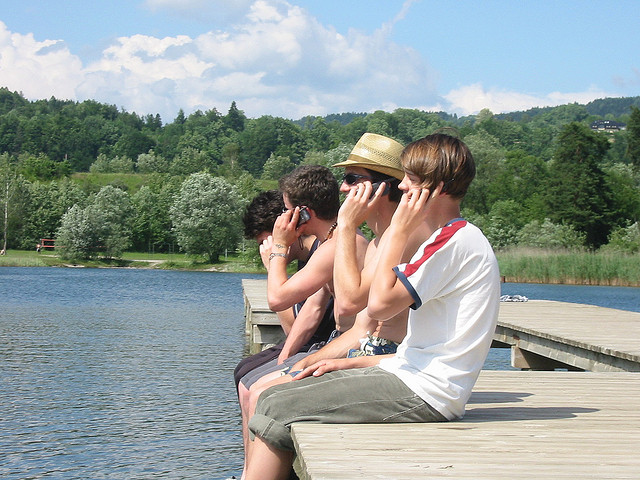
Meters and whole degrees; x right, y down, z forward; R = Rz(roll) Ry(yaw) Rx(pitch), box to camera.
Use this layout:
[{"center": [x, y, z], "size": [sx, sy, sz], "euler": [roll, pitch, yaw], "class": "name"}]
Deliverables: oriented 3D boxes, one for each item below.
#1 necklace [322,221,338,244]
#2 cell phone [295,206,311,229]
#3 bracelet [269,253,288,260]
[{"center": [0.114, -0.087, 10.621], "size": [0.140, 0.214, 0.068], "euler": [-1, 4, -2], "class": "necklace"}, {"center": [-0.159, -0.213, 10.528], "size": [0.185, 0.042, 0.174], "euler": [-30, -13, -32], "class": "cell phone"}, {"center": [-0.424, 0.172, 10.505], "size": [0.098, 0.072, 0.030], "euler": [-3, 3, 2], "class": "bracelet"}]
